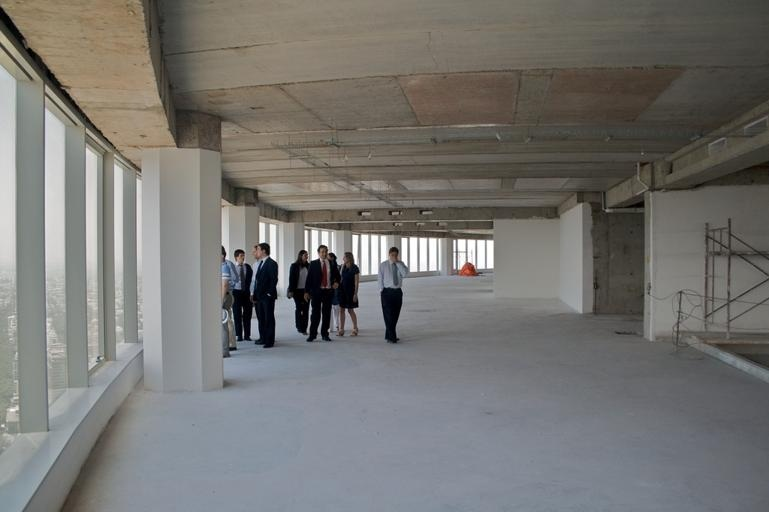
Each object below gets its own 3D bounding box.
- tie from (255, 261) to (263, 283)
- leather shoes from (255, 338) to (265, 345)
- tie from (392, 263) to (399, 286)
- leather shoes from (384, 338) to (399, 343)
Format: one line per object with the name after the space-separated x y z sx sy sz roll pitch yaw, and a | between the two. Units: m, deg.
-2.420 0.276 10.714 0.124 0.327 0.239 13 4 -3 | tie
-2.436 1.656 10.836 0.160 0.112 0.471 1 -5 -16 | leather shoes
0.221 0.349 10.736 0.061 0.439 0.211 -3 -5 37 | tie
0.159 1.692 11.119 0.095 0.188 0.281 3 -9 -35 | leather shoes
